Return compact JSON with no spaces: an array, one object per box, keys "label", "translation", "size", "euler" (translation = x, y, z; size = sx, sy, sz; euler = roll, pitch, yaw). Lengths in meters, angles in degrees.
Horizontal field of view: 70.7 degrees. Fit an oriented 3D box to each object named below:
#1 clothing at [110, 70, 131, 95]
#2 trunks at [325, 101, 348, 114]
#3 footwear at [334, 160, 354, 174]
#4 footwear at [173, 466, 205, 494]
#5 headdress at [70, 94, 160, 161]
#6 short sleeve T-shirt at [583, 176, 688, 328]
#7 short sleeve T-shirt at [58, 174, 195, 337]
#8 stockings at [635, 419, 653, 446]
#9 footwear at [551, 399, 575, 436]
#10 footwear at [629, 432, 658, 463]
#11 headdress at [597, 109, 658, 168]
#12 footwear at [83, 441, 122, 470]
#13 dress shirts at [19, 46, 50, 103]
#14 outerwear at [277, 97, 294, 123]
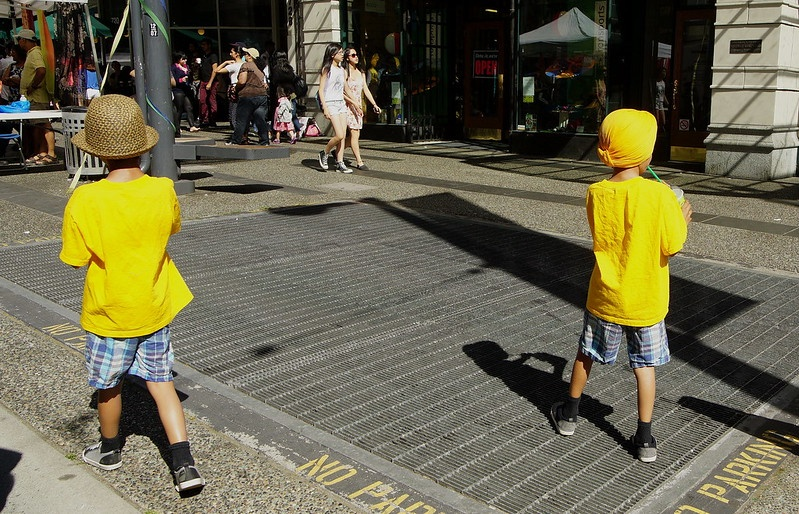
[{"label":"clothing","translation":[-9.148,-5.744,18.508],"size":[0.762,0.841,1.760],"euler":[-9,17,-25]},{"label":"trunks","translation":[-1.313,-3.150,11.849],"size":[0.325,0.125,0.300],"euler":[-2,-13,-13]},{"label":"footwear","translation":[-1.241,-1.977,12.286],"size":[0.519,0.224,0.205],"euler":[12,27,34]},{"label":"footwear","translation":[-1.146,1.230,3.085],"size":[0.127,0.076,0.186],"euler":[-4,12,-22]},{"label":"headdress","translation":[-1.508,-0.693,3.046],"size":[0.403,0.194,0.416],"euler":[30,40,23]},{"label":"short sleeve T-shirt","translation":[1.376,-0.033,3.331],"size":[0.549,0.857,0.317],"euler":[3,17,17]},{"label":"short sleeve T-shirt","translation":[-1.500,0.013,3.125],"size":[0.616,0.896,0.318],"euler":[-11,18,-29]},{"label":"stockings","translation":[1.446,1.039,3.388],"size":[0.078,0.115,0.177],"euler":[2,30,19]},{"label":"footwear","translation":[1.055,1.047,3.675],"size":[0.104,0.090,0.237],"euler":[-2,21,-1]},{"label":"footwear","translation":[1.473,1.156,3.382],"size":[0.094,0.068,0.198],"euler":[-7,22,12]},{"label":"headdress","translation":[1.350,-0.703,3.358],"size":[0.301,0.342,0.238],"euler":[4,16,18]},{"label":"footwear","translation":[-1.732,1.171,3.289],"size":[0.278,0.123,0.122],"euler":[16,16,33]},{"label":"dress shirts","translation":[-8.164,-4.072,12.607],"size":[0.588,1.247,0.552],"euler":[-10,18,-28]},{"label":"outerwear","translation":[-3.330,-4.263,16.414],"size":[0.401,0.602,0.664],"euler":[3,20,11]}]
